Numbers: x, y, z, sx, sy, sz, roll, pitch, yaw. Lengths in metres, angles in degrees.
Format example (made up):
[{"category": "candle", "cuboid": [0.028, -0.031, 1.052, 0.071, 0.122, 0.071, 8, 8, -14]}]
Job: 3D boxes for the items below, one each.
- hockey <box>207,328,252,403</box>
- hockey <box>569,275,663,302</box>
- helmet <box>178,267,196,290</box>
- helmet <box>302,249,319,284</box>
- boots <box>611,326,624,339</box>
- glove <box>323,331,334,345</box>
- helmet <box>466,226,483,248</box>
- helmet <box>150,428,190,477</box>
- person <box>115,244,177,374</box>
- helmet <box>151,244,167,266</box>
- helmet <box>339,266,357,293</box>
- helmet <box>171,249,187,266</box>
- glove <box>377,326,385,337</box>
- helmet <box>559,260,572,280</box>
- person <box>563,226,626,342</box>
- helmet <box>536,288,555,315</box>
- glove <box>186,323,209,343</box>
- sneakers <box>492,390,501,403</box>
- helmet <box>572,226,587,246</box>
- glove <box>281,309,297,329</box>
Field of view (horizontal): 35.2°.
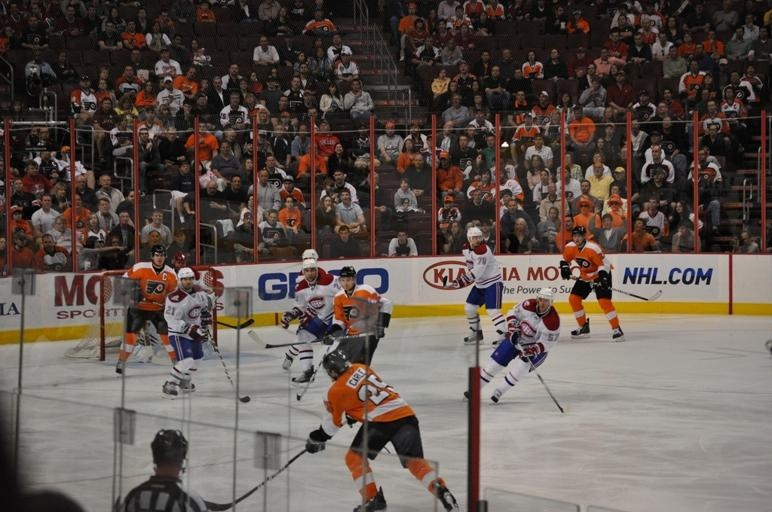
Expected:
[{"category": "hockey", "cuboid": [-2.144, 1.548, 16.562, 0.185, 1.065, 0.120, -28, 14, 30]}, {"category": "hockey", "cuboid": [4.140, 0.587, 21.816, 1.029, 0.150, 0.189, 19, -4, 18]}, {"category": "helmet", "cuboid": [-2.867, 0.351, 17.645, 0.224, 0.300, 0.299, -3, 1, -10]}, {"category": "helmet", "cuboid": [-1.156, 0.141, 18.602, 0.206, 0.214, 0.624, -1, 22, 1]}, {"category": "boots", "cuboid": [3.923, 1.340, 20.607, 0.187, 0.204, 0.486, -2, -3, 11]}, {"category": "glove", "cuboid": [-0.743, 1.088, 15.650, 0.118, 0.141, 0.156, -1, -15, 8]}, {"category": "helmet", "cuboid": [1.492, -0.290, 20.386, 0.209, 0.349, 0.327, -1, -2, -2]}, {"category": "helmet", "cuboid": [-2.394, 2.222, 13.768, 0.405, 0.511, 0.505, 1, 1, -4]}, {"category": "person", "cuboid": [-3.518, 0.836, 18.301, 1.007, 1.969, 0.990, 4, -3, -19]}, {"category": "helmet", "cuboid": [-3.440, 0.026, 18.476, 0.232, 0.332, 0.327, 1, 2, -9]}, {"category": "helmet", "cuboid": [-0.532, 0.348, 17.493, 0.257, 0.349, 0.345, -1, 2, 3]}, {"category": "helmet", "cuboid": [-3.254, 0.058, 19.187, 0.244, 0.299, 0.314, 2, -1, -4]}, {"category": "glove", "cuboid": [-0.068, 0.871, 13.614, 0.093, 0.094, 0.168, -3, -33, -5]}, {"category": "helmet", "cuboid": [3.027, 0.276, 20.567, 0.199, 0.316, 0.131, 6, -36, -5]}, {"category": "person", "cuboid": [3.483, 0.491, 20.734, 0.994, 1.934, 0.781, -2, -2, 8]}, {"category": "helmet", "cuboid": [2.226, 0.643, 17.103, 0.224, 0.325, 0.325, 2, 8, 12]}, {"category": "glove", "cuboid": [-2.703, 1.133, 17.386, 0.297, 0.160, 0.400, 5, -4, -8]}, {"category": "sneakers", "cuboid": [1.556, 2.007, 17.119, 0.118, 0.165, 0.095, 29, 6, -34]}, {"category": "helmet", "cuboid": [3.259, -0.309, 20.521, 0.212, 0.345, 0.240, -2, -2, 9]}, {"category": "glove", "cuboid": [-1.485, 0.979, 18.260, 0.103, 0.265, 0.194, 34, 7, 35]}]
